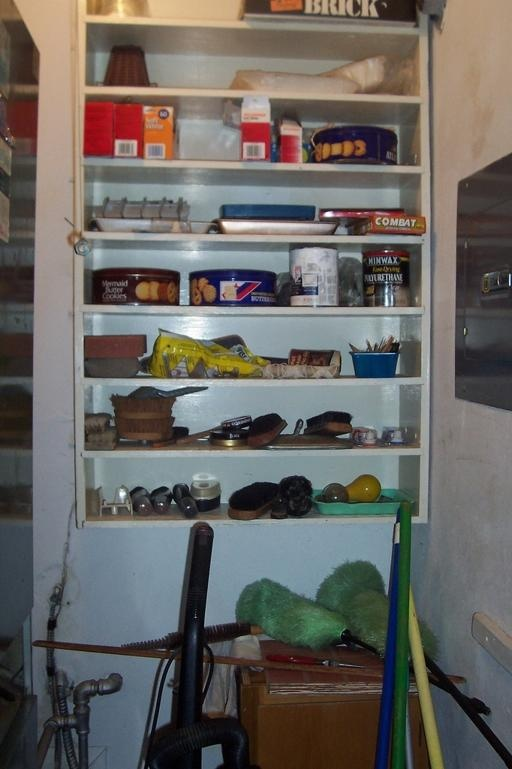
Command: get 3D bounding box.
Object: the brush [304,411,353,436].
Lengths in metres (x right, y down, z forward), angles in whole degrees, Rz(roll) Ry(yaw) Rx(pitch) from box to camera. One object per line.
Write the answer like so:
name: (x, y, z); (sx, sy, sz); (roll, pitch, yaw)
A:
brush: (0.172, 0.087, 1.494); (0.055, 0.037, 0.098); (4, -2, -18)

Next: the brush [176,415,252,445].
brush: (-0.101, 0.081, 1.470); (0.170, 0.060, 0.142); (-4, 10, -17)

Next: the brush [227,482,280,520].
brush: (-0.005, 0.256, 1.449); (0.094, 0.063, 0.139); (3, 9, 0)

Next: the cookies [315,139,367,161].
cookies: (0.176, -0.486, 1.335); (0.112, 0.040, 0.028); (3, 7, 21)

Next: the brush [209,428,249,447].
brush: (-0.062, 0.120, 1.419); (0.085, 0.034, 0.046); (1, 7, 1)

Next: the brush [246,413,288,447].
brush: (0.021, 0.104, 1.427); (0.085, 0.060, 0.095); (-1, 7, -8)
